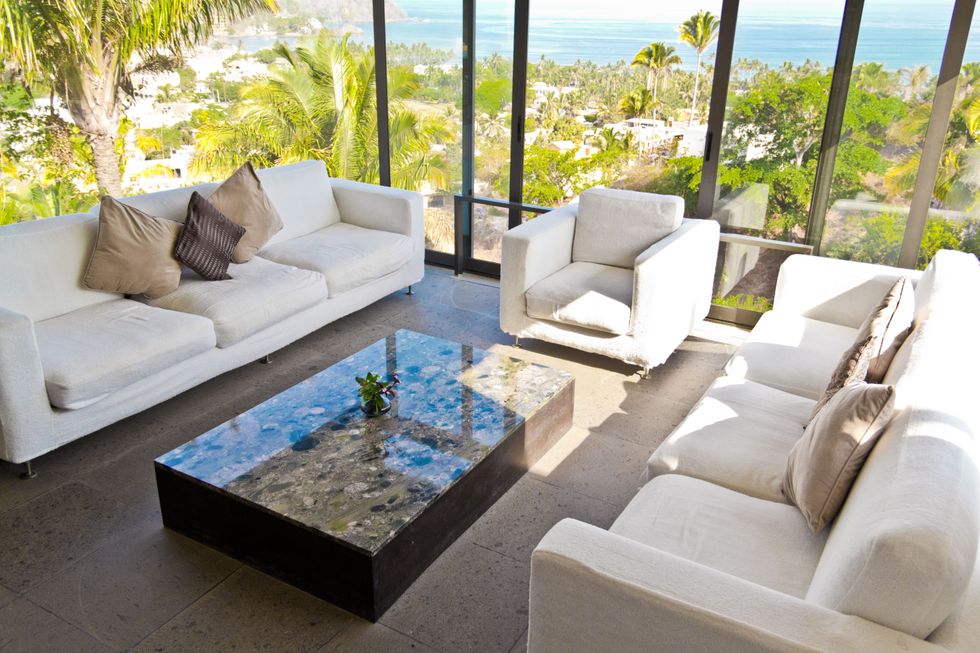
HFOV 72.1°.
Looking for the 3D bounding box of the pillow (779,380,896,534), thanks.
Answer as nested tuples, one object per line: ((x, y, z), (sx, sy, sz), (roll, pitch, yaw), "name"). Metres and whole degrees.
((1.318, 0.507, 2.530), (0.292, 0.470, 0.566), (8, -2, 20), "pillow")

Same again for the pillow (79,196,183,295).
((-2.247, -0.476, 4.238), (0.606, 0.575, 0.181), (21, -11, -39), "pillow")

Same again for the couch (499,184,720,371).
((0.922, -0.229, 4.971), (1.370, 1.069, 1.380), (14, 31, 28), "couch")

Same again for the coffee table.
((-0.583, 0.617, 3.466), (1.203, 0.615, 1.694), (21, 33, 32), "coffee table")

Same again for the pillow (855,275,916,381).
((1.900, 0.008, 3.205), (0.137, 0.454, 0.445), (26, 35, 17), "pillow")
